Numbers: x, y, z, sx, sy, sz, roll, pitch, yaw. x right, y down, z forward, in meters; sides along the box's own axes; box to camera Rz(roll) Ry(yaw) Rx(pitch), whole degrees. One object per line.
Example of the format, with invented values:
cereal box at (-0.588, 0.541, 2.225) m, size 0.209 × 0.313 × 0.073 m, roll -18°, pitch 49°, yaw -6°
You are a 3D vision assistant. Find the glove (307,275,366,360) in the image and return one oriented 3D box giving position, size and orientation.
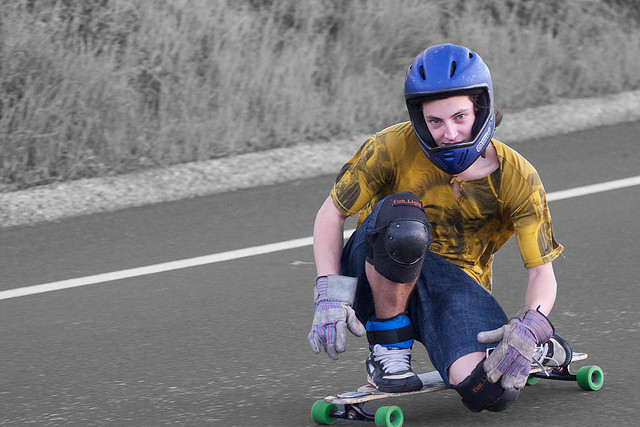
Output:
glove at (0.087, 0.513, 5.697) m, size 0.319 × 0.141 × 0.411 m, roll 0°, pitch 53°, yaw 8°

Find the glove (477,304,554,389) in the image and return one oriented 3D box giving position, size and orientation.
glove at (0.973, 0.642, 5.624) m, size 0.292 × 0.128 × 0.432 m, roll 32°, pitch 61°, yaw 5°
